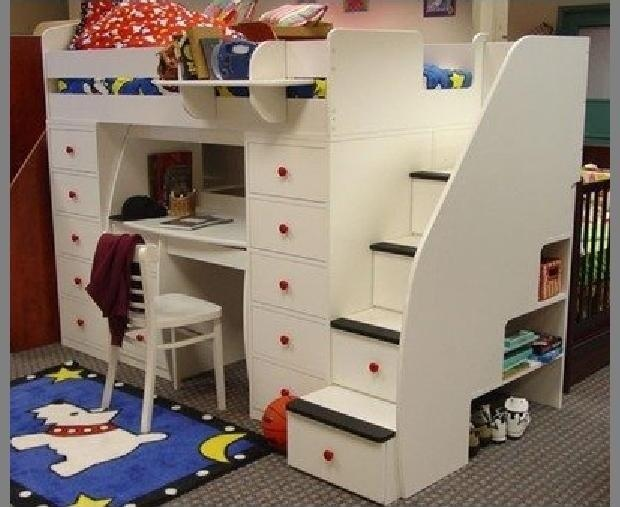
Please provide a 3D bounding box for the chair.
[{"bbox_3d":[-0.828,0.475,3.317,0.690,1.239,0.651,-12,20,-41],"label":"chair"}]

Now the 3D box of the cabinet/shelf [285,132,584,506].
[{"bbox_3d":[0.632,0.170,2.865,0.655,1.585,1.535,11,17,43],"label":"cabinet/shelf"}]

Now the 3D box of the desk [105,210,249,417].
[{"bbox_3d":[-0.710,0.436,3.286,0.553,0.861,0.546,-3,0,-22],"label":"desk"}]

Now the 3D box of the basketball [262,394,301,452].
[{"bbox_3d":[-0.178,0.880,2.880,0.210,0.260,0.214,-6,-6,-16],"label":"basketball"}]
